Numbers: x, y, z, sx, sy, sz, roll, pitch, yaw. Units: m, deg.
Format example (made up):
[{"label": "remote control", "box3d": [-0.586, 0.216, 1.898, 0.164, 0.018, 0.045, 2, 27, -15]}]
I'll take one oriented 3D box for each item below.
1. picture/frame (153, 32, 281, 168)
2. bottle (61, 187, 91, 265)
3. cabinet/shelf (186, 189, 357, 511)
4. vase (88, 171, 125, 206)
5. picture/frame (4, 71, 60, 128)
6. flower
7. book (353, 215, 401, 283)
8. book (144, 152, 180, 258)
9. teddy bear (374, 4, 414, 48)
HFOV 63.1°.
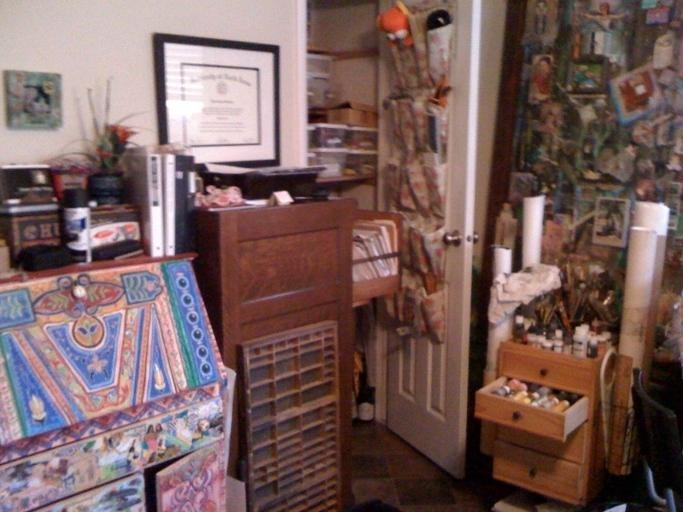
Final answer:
[{"label": "picture/frame", "box3d": [-0.552, -0.679, 2.374, 0.655, 0.616, 0.049, -9, 12, -44]}, {"label": "bottle", "box3d": [-0.876, -0.099, 1.837, 0.091, 0.241, 0.067, -11, 18, -26]}, {"label": "cabinet/shelf", "box3d": [-0.187, 0.478, 2.281, 0.698, 1.392, 0.410, -7, 17, -16]}, {"label": "vase", "box3d": [-0.847, -0.246, 2.005, 0.116, 0.112, 0.113, -9, 15, -42]}, {"label": "picture/frame", "box3d": [-1.123, -0.569, 2.002, 0.203, 0.220, 0.029, -8, 14, -41]}, {"label": "flower", "box3d": [-0.910, -0.514, 2.206, 0.311, 0.372, 0.372, 12, 16, 22]}, {"label": "book", "box3d": [0.169, -0.030, 2.685, 0.220, 0.301, 0.088, 2, 1, -21]}, {"label": "book", "box3d": [-0.633, -0.178, 1.958, 0.137, 0.351, 0.073, -8, 17, -19]}, {"label": "teddy bear", "box3d": [0.269, -1.161, 2.790, 0.166, 0.214, 0.147, -3, 17, -2]}]
